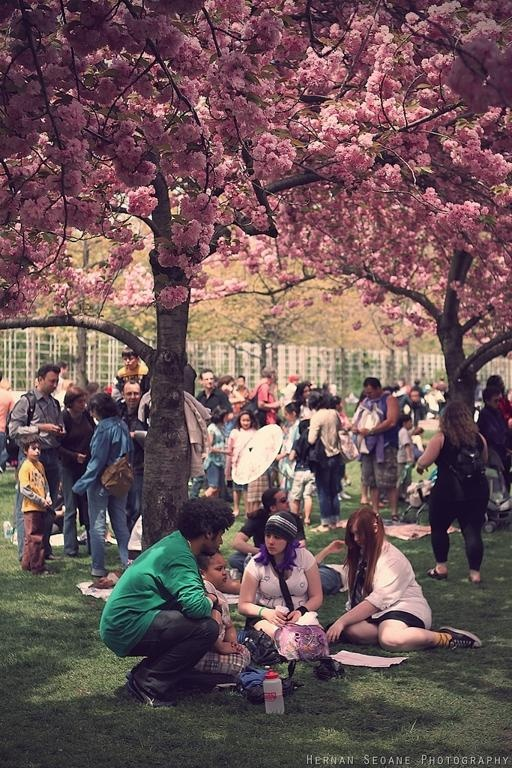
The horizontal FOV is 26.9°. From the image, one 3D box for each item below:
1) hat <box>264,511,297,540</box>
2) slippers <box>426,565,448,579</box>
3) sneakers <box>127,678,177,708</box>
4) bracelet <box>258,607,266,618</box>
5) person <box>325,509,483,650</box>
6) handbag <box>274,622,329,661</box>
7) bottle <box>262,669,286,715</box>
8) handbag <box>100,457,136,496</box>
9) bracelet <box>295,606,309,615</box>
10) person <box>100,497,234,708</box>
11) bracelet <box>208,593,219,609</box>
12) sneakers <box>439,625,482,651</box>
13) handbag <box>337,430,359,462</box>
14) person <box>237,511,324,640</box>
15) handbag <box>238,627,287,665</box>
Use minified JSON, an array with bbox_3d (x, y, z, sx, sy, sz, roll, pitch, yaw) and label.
[{"bbox_3d":[0.186,0.941,7.262,0.190,0.174,0.296,-5,-7,41],"label":"hat"},{"bbox_3d":[1.537,1.580,9.152,0.076,0.082,0.185,0,4,-34],"label":"slippers"},{"bbox_3d":[-0.630,1.804,6.327,0.313,0.117,0.104,4,4,39],"label":"sneakers"},{"bbox_3d":[0.026,1.517,7.200,0.036,0.063,0.037,0,-6,0],"label":"bracelet"},{"bbox_3d":[0.891,1.401,7.500,1.038,0.899,0.904,6,-19,-9],"label":"person"},{"bbox_3d":[0.278,1.624,6.992,0.312,0.205,0.248,15,1,-15],"label":"handbag"},{"bbox_3d":[0.097,1.733,6.140,0.120,0.240,0.165,-1,-5,0],"label":"bottle"},{"bbox_3d":[-1.208,0.763,9.222,0.193,0.323,0.238,17,-29,32],"label":"handbag"},{"bbox_3d":[0.307,1.503,7.233,0.081,0.049,0.061,-1,-5,2],"label":"bracelet"},{"bbox_3d":[-0.529,1.267,6.423,0.794,1.190,0.469,0,-6,-7],"label":"person"},{"bbox_3d":[-0.261,1.334,6.721,0.072,0.084,0.092,2,20,-2],"label":"bracelet"},{"bbox_3d":[1.377,1.681,7.223,0.308,0.096,0.120,6,7,32],"label":"sneakers"},{"bbox_3d":[0.930,0.648,11.480,0.209,0.335,0.128,-4,-14,-44],"label":"handbag"},{"bbox_3d":[0.169,1.254,7.317,0.749,1.001,0.748,-2,2,2],"label":"person"},{"bbox_3d":[-0.001,1.729,7.069,0.186,0.099,0.260,-24,50,-35],"label":"handbag"}]
